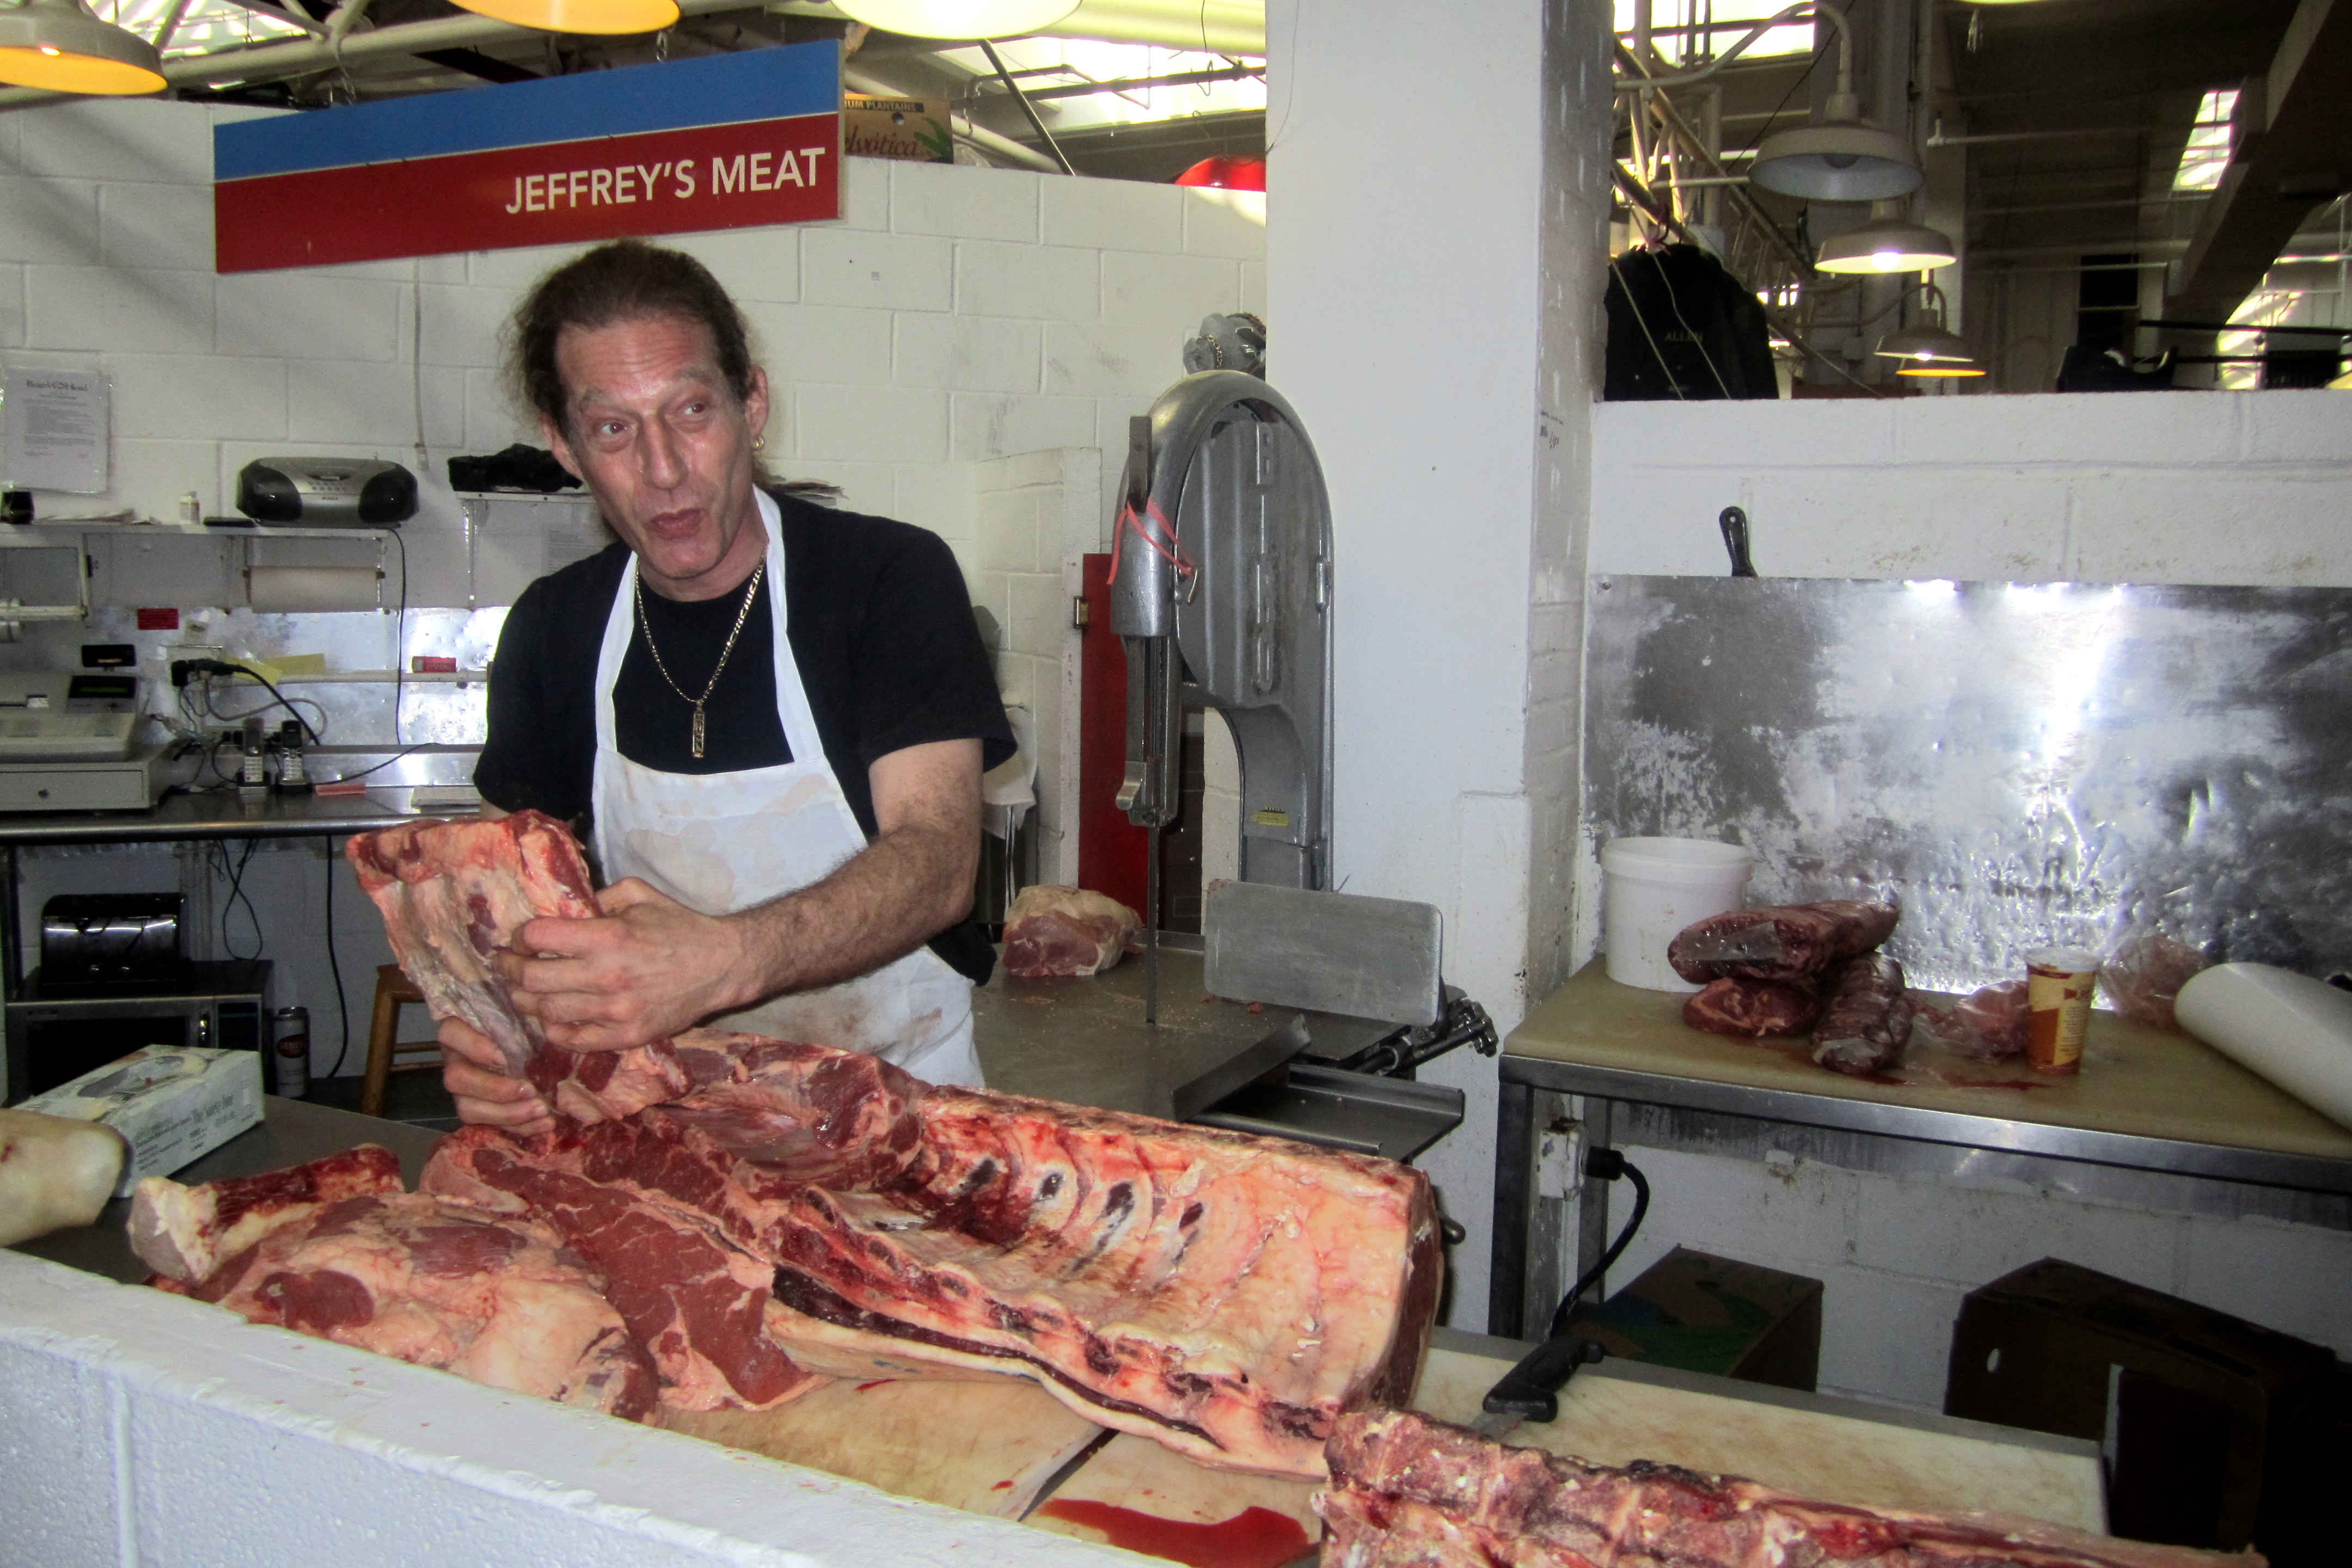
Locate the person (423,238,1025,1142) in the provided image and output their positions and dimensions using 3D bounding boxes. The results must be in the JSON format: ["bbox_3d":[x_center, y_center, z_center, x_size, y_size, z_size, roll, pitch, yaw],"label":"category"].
[{"bbox_3d":[-0.771,-0.154,2.994,0.981,1.550,0.982,-5,7,-20],"label":"person"}]

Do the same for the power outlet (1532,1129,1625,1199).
[{"bbox_3d":[0.928,0.881,3.989,0.169,0.204,0.160,1,2,20],"label":"power outlet"}]

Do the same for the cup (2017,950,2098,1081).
[{"bbox_3d":[1.977,0.515,3.875,0.158,0.248,0.106,-7,8,-33],"label":"cup"}]

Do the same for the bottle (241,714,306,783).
[{"bbox_3d":[-3.402,-0.113,6.611,0.208,0.256,0.271,2,0,-10],"label":"bottle"}]
